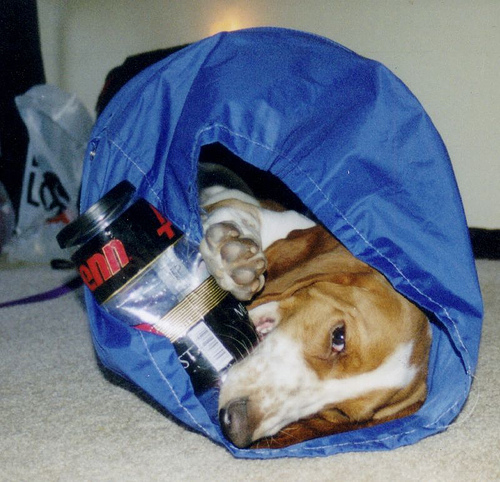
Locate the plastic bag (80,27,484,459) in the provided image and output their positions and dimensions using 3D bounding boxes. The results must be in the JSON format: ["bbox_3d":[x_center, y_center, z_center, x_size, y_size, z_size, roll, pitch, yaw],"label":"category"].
[{"bbox_3d":[0.039,-0.009,1.781,0.880,0.649,0.932,-7,46,-15],"label":"plastic bag"}]

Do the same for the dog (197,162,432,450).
[{"bbox_3d":[0.192,0.149,1.973,0.248,0.576,0.713,-17,29,10],"label":"dog"}]
